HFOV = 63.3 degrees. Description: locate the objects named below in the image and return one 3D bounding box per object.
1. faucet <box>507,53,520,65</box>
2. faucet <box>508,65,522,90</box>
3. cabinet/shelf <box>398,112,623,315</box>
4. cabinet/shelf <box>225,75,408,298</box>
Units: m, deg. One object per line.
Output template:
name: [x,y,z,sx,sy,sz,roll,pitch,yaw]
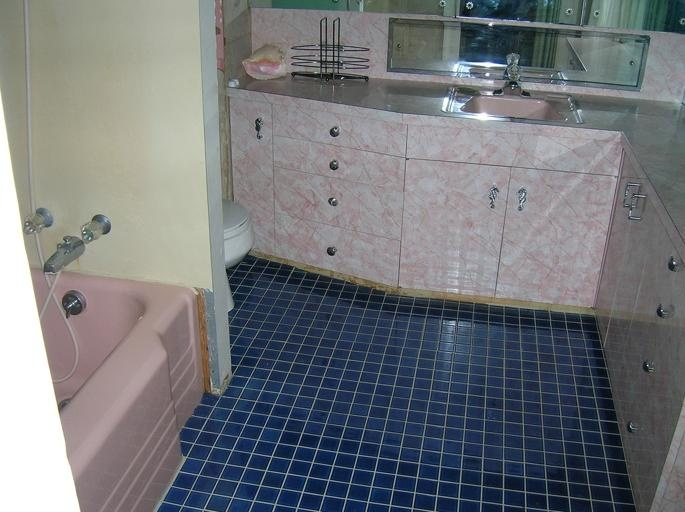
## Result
faucet: [0.895,-1.031,2.957,0.082,0.062,0.086,4,37,11]
faucet: [0.920,-0.959,2.974,0.080,0.115,0.161,7,28,16]
cabinet/shelf: [0.838,-0.233,2.684,0.869,0.769,0.356,9,37,11]
cabinet/shelf: [-0.051,-0.425,3.144,1.087,0.980,0.388,13,34,16]
